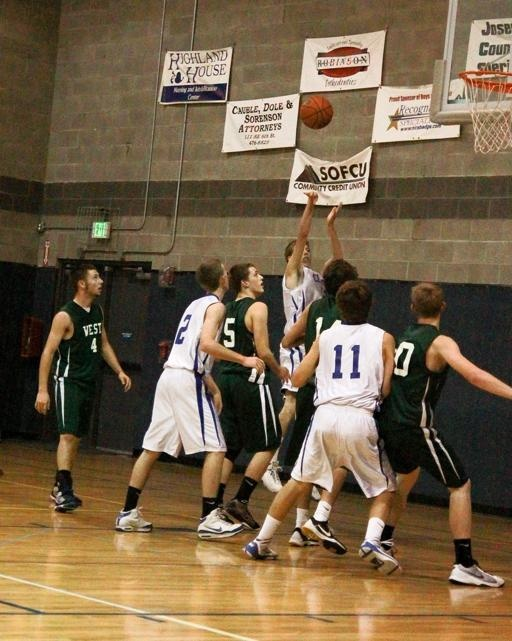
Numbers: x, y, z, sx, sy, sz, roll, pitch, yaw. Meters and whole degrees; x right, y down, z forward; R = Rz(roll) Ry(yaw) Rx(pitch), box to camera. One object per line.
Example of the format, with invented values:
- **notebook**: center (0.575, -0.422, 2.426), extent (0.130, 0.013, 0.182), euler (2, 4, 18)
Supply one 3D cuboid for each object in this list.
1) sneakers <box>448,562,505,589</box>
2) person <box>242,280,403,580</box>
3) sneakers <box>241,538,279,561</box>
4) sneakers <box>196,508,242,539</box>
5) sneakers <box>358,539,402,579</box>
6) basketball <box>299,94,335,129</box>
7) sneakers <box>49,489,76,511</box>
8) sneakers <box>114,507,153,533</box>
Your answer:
- **sneakers**: center (1.007, 1.183, 3.179), extent (0.305, 0.121, 0.101), euler (5, -11, -5)
- **person**: center (0.391, 0.502, 3.135), extent (0.715, 1.221, 0.363), euler (8, -2, 23)
- **sneakers**: center (0.039, 1.128, 3.359), extent (0.086, 0.107, 0.238), euler (5, -6, 45)
- **sneakers**: center (-0.232, 1.147, 3.837), extent (0.357, 0.195, 0.121), euler (0, -4, 4)
- **sneakers**: center (0.545, 1.036, 2.919), extent (0.213, 0.130, 0.112), euler (9, -2, -44)
- **basketball**: center (0.670, -2.301, 7.522), extent (0.379, 0.347, 0.363), euler (-2, 12, 0)
- **sneakers**: center (-1.288, 1.209, 4.561), extent (0.157, 0.166, 0.267), euler (9, -2, -22)
- **sneakers**: center (-0.713, 1.161, 3.983), extent (0.236, 0.130, 0.116), euler (3, 0, -23)
